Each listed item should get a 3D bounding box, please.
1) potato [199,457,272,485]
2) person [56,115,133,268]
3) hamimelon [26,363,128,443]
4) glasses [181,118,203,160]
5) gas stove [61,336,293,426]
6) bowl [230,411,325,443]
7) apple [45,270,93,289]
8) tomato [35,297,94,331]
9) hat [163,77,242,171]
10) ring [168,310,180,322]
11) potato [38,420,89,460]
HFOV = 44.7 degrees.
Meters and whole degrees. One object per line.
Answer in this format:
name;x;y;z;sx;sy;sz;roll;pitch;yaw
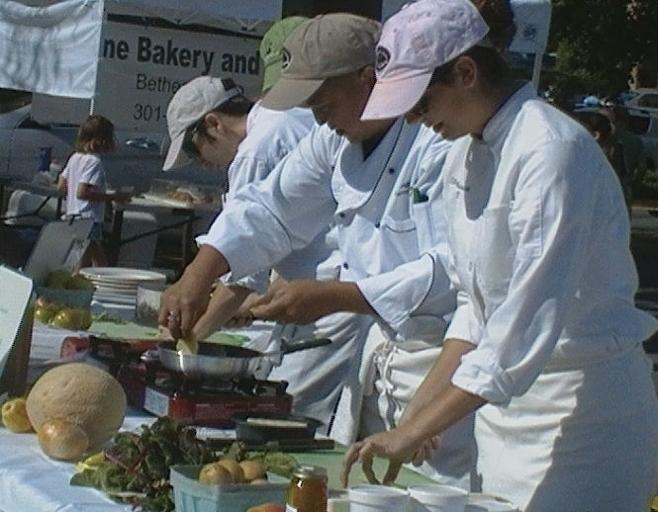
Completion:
potato;-0.240;0.564;2.078;0.205;0.050;0.103;4;8;-38
person;-2.268;-0.607;7.717;0.530;1.459;1.548;5;7;-23
hamimelon;-0.791;0.483;2.542;0.265;0.233;0.217;1;-32;1
glasses;-0.660;-0.561;3.844;0.043;0.148;0.109;12;14;26
gas stove;-0.525;0.438;2.756;0.408;0.149;0.468;-12;16;-41
bowl;-0.178;0.552;2.597;0.167;0.073;0.304;14;8;42
apple;-1.233;0.114;3.822;0.135;0.081;0.199;11;7;24
tomato;-1.231;0.275;3.687;0.248;0.114;0.208;6;4;-8
hat;-0.687;-0.676;3.894;0.242;0.460;0.324;47;8;-11
ring;-0.575;0.221;2.956;0.051;0.035;0.034;9;6;3
potato;-0.799;0.555;2.402;0.149;0.121;0.088;6;6;-17
